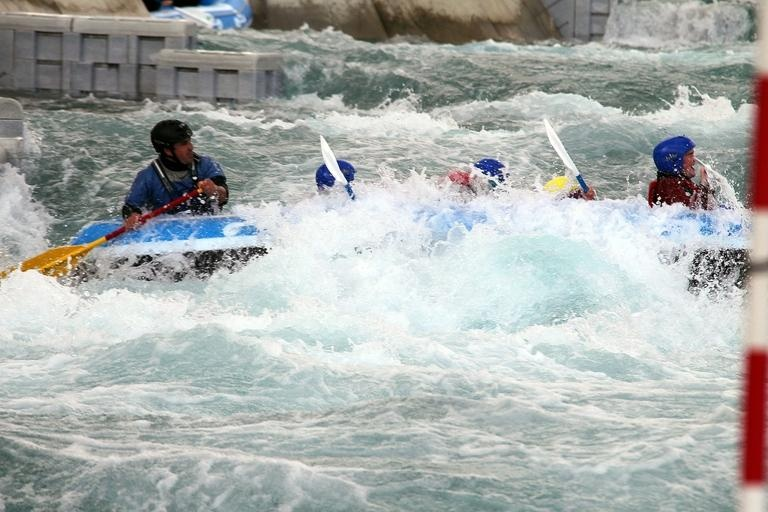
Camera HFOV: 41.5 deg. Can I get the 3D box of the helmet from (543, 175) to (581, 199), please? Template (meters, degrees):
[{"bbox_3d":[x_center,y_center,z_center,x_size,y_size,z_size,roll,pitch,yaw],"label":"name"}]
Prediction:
[{"bbox_3d":[2.005,-0.774,11.320,0.334,0.214,0.433,1,6,30],"label":"helmet"}]

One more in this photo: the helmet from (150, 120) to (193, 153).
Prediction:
[{"bbox_3d":[-2.343,-1.313,11.069,0.423,0.351,0.256,-4,8,-5],"label":"helmet"}]

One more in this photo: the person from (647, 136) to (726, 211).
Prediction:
[{"bbox_3d":[3.252,-0.908,11.073,0.704,0.802,0.310,-2,9,12],"label":"person"}]

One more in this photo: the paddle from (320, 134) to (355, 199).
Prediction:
[{"bbox_3d":[-0.522,-0.982,11.433,0.318,0.687,0.606,-5,7,-1],"label":"paddle"}]
